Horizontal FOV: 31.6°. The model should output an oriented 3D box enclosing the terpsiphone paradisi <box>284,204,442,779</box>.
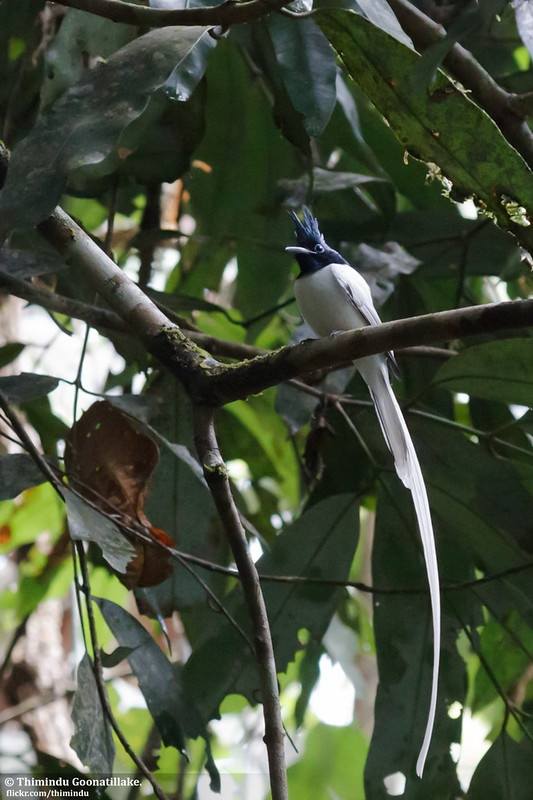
[{"bbox_3d":[0.281,-0.006,3.134,0.361,2.464,1.079,-11,-63,9],"label":"terpsiphone paradisi"}]
